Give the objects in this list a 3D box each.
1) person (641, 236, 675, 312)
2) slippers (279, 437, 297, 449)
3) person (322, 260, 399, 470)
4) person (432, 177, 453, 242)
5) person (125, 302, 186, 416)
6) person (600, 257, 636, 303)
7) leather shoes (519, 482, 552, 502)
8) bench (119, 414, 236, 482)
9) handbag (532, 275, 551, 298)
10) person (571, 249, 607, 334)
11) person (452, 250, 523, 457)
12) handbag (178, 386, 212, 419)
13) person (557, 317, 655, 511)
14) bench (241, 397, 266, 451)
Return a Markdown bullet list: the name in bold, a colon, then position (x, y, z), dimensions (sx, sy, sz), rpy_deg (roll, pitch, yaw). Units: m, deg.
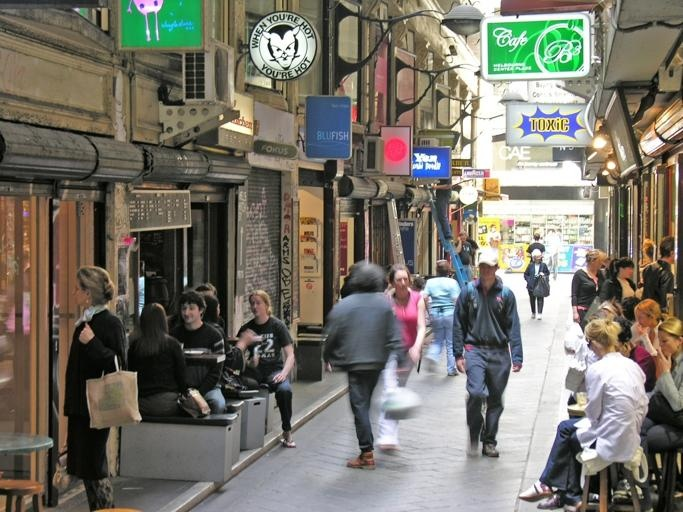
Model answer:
- **person**: position (4.460, 0.254, 11.950), dimensions (0.352, 1.036, 0.546), rpy_deg (-1, 0, -3)
- **slippers**: position (-0.653, 2.237, 10.288), dimensions (0.089, 0.100, 0.238), rpy_deg (-10, 1, -36)
- **person**: position (0.226, 1.201, 9.365), dimensions (0.834, 1.819, 0.322), rpy_deg (-1, 0, -3)
- **person**: position (3.290, -1.581, 28.209), dimensions (0.578, 0.576, 2.325), rpy_deg (6, 30, 4)
- **person**: position (-1.872, 1.071, 8.989), dimensions (0.747, 1.202, 0.790), rpy_deg (1, -2, -13)
- **person**: position (4.303, 0.380, 13.361), dimensions (0.255, 0.766, 0.468), rpy_deg (1, 16, 24)
- **leather shoes**: position (1.879, 2.284, 8.317), dimensions (0.358, 0.183, 0.141), rpy_deg (-3, -4, 7)
- **bench**: position (-1.627, 1.867, 9.006), dimensions (0.775, 0.525, 0.820), rpy_deg (-1, -3, 19)
- **handbag**: position (5.144, 0.762, 22.208), dimensions (0.535, 0.786, 0.366), rpy_deg (-4, 2, -30)
- **person**: position (4.139, 0.871, 14.104), dimensions (0.636, 1.944, 0.447), rpy_deg (-3, 7, 4)
- **person**: position (1.649, 1.108, 9.718), dimensions (0.751, 2.067, 0.402), rpy_deg (-1, 0, 7)
- **handbag**: position (-1.515, 1.524, 8.889), dimensions (0.107, 0.256, 0.316), rpy_deg (-24, -9, -47)
- **person**: position (2.407, 1.459, 7.734), dimensions (0.790, 1.625, 1.015), rpy_deg (-1, 0, -16)
- **bench**: position (-1.000, 1.910, 9.916), dimensions (0.181, 0.447, 0.515), rpy_deg (-1, 0, 23)
